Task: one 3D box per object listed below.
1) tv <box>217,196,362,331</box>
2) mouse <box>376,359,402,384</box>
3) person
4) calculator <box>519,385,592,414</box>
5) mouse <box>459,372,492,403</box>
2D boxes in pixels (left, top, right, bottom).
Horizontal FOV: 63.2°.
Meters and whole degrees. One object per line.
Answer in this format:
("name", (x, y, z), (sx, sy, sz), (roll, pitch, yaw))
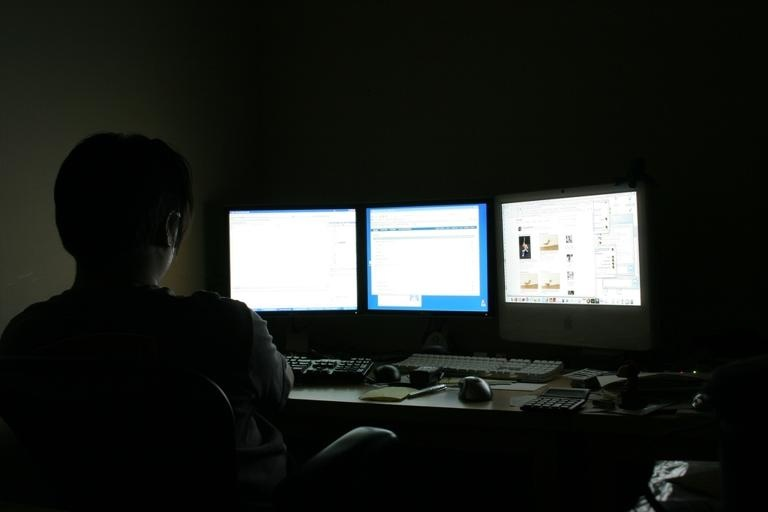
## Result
("tv", (-0.361, 0.029, 2.488), (0.580, 0.476, 0.061), (0, 1, 2))
("mouse", (0.026, 0.414, 2.209), (0.066, 0.065, 0.036), (-3, -44, -8))
("person", (-0.641, 0.263, 2.101), (1.081, 1.187, 1.078), (-6, -4, 24))
("calculator", (0.560, 0.455, 1.988), (0.156, 0.037, 0.290), (-1, -2, 32))
("mouse", (0.298, 0.434, 2.046), (0.112, 0.076, 0.118), (-1, -1, 13))
